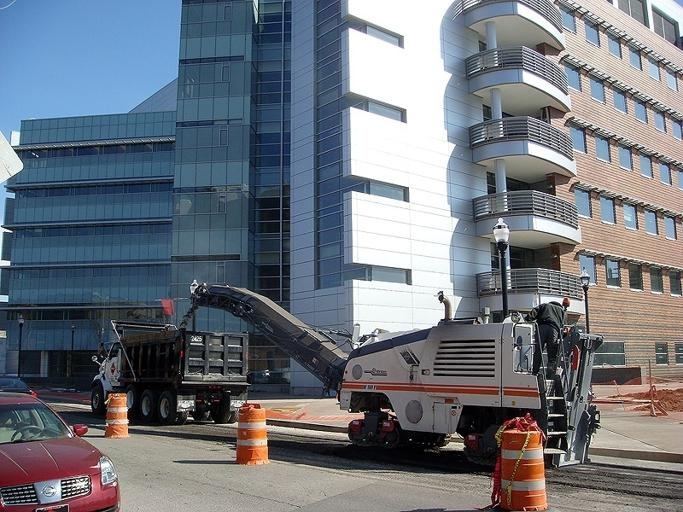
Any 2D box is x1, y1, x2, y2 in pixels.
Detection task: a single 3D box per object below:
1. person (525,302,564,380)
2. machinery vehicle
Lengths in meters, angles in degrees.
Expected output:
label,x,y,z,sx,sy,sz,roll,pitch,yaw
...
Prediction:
label,x,y,z,sx,sy,sz,roll,pitch,yaw
person,4.640,1.862,14.765,0.680,1.810,1.402,-9,-14,37
machinery vehicle,0.552,2.874,17.760,11.315,3.879,4.226,-2,-10,31
